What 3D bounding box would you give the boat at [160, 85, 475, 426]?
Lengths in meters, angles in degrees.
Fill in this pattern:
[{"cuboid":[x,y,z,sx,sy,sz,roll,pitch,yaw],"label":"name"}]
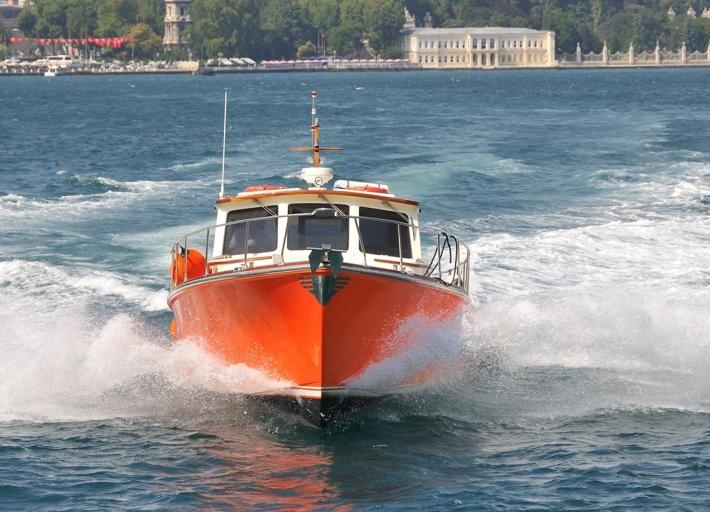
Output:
[{"cuboid":[-0.725,0.745,23.570,5.292,4.105,3.088,-2,19,-3],"label":"boat"}]
